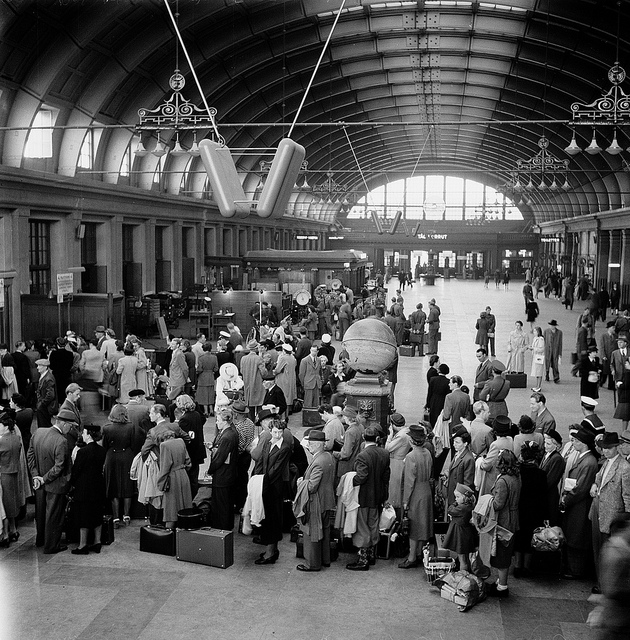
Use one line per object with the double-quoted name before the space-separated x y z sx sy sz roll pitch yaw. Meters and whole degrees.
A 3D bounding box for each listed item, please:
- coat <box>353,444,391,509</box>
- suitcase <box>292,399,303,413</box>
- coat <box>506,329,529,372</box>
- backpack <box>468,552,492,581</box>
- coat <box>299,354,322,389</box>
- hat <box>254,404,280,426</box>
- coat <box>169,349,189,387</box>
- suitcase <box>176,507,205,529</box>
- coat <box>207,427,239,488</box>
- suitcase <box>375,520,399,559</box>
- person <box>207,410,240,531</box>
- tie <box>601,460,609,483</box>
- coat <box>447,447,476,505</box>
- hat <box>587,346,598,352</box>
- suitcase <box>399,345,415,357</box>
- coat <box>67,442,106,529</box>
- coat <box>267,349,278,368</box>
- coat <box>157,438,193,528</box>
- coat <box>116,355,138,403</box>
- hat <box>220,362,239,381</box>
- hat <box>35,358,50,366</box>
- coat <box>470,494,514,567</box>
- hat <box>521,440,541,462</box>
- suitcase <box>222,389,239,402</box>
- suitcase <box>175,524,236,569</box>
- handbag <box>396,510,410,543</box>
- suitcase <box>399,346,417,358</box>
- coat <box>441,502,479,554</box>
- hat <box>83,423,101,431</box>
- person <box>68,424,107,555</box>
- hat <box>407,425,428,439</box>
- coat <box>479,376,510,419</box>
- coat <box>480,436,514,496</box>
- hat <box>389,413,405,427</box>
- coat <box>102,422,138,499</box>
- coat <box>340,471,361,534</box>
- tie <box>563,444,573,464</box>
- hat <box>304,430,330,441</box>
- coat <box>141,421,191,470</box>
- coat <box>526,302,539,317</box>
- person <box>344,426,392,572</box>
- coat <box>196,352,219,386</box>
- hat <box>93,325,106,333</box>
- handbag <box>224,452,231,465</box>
"coat" 0.681 1.813 8.326 0.230 0.738 0.715 0 -3 33
"suitcase" -0.414 1.927 16.067 0.238 0.205 0.351 11 -30 -1
"coat" 5.643 0.846 20.041 0.532 1.377 0.380 7 30 20
"backpack" 1.824 2.749 7.955 0.229 0.387 0.116 4 -1 -12
"coat" -0.086 1.117 15.240 0.474 0.699 0.391 1 -2 -2
"hat" -0.599 1.166 8.870 0.255 0.101 0.234 -32 -3 6
"coat" -2.874 1.039 15.171 0.511 1.022 0.756 3 -1 -12
"suitcase" -1.503 2.400 8.696 0.224 0.148 0.248 2 10 5
"coat" -1.162 1.704 8.999 0.304 0.712 0.516 3 11 -1
"suitcase" 0.868 2.657 8.643 0.266 0.462 0.266 1 -2 7
"person" -1.166 1.928 9.115 0.388 1.636 0.976 1 -2 -6
"tie" 2.958 1.561 7.334 0.014 0.272 0.025 33 -19 -27
"coat" 1.727 1.916 8.754 0.215 0.717 0.482 4 7 -25
"hat" 6.390 0.660 16.493 0.227 0.097 0.209 -5 4 -30
"suitcase" 3.229 1.081 25.247 0.497 0.371 0.508 3 -3 9
"coat" -2.711 2.001 8.570 0.336 1.370 0.411 -7 -10 34
"coat" -0.914 0.848 15.916 0.301 0.503 0.252 2 6 8
"coat" -1.733 2.036 8.940 0.486 1.105 0.228 3 -3 -45
"coat" -3.814 1.196 14.565 0.396 0.982 0.467 1 -2 -7
"hat" -1.632 0.996 13.697 0.333 0.324 0.236 2 -2 -24
"hat" -4.679 0.722 12.343 0.201 0.087 0.162 18 6 14
"coat" 1.809 2.196 7.485 0.246 0.747 0.508 1 3 -20
"hat" 2.381 1.463 8.014 0.141 0.243 0.094 2 -6 8
"suitcase" -1.378 1.241 11.903 0.226 0.160 0.313 0 -5 3
"suitcase" -1.311 2.655 8.417 0.774 0.397 0.241 0 -2 27
"handbag" 1.087 2.542 8.756 0.123 0.384 0.246 -1 12 9
"suitcase" 3.303 1.109 25.452 0.558 0.385 0.513 8 6 33
"coat" 1.585 2.295 7.870 0.303 0.888 0.297 5 7 10
"hat" -2.737 1.329 8.810 0.185 0.074 0.307 3 -3 -21
"person" -2.734 2.043 8.607 0.439 1.520 0.529 2 -2 -14
"hat" 1.171 1.301 8.349 0.228 0.152 0.249 0 -3 26
"coat" 3.134 1.331 12.597 0.471 0.690 0.562 1 -2 14
"coat" 1.998 1.621 7.866 0.291 0.282 0.893 16 30 20
"hat" 1.034 1.260 9.031 0.159 0.159 0.250 1 -3 0
"coat" -2.569 1.894 9.477 0.387 1.215 0.333 -4 20 -16
"coat" 0.385 2.086 8.178 0.251 0.717 0.189 1 -2 15
"tie" 2.955 1.568 8.415 0.046 0.171 0.161 23 21 13
"hat" 0.015 1.311 8.067 0.179 0.096 0.129 1 -2 12
"coat" -1.887 1.601 9.029 0.419 0.442 0.181 -18 15 -6
"coat" 8.086 -0.411 26.893 0.410 0.510 0.187 0 13 -1
"person" 0.658 2.079 8.361 0.297 1.631 0.756 0 -2 40
"coat" -2.340 1.073 15.647 0.447 0.736 0.463 2 -2 -10
"hat" -4.750 0.196 15.823 0.237 0.163 0.307 2 8 -5
"handbag" -1.073 1.712 8.830 0.071 0.143 0.034 2 -2 -23
